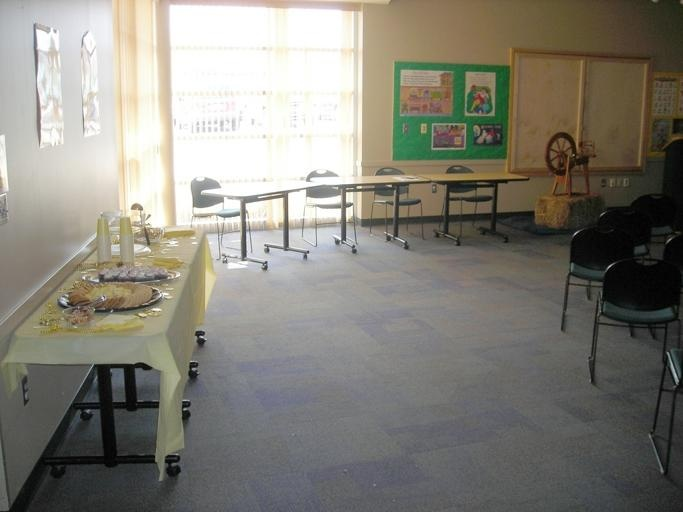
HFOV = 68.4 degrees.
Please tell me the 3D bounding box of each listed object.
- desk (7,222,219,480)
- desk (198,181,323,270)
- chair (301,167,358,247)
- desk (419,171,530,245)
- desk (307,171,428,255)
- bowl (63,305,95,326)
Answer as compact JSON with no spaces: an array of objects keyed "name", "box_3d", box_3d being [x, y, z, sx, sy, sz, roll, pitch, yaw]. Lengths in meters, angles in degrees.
[{"name":"desk","box_3d":[-1.367,0.590,2.933,0.468,0.508,1.323,-1,15,-5]},{"name":"desk","box_3d":[-1.121,-0.524,7.318,1.424,0.959,1.767,4,16,15]},{"name":"chair","box_3d":[-0.255,-0.814,8.266,0.729,1.408,0.813,3,18,0]},{"name":"desk","box_3d":[2.223,-0.793,8.602,1.521,1.165,0.875,-3,15,-8]},{"name":"desk","box_3d":[0.387,-0.707,7.918,1.773,1.014,1.348,-1,15,-6]},{"name":"bowl","box_3d":[-1.342,0.299,2.583,0.139,0.046,0.316,-8,18,-28]}]
